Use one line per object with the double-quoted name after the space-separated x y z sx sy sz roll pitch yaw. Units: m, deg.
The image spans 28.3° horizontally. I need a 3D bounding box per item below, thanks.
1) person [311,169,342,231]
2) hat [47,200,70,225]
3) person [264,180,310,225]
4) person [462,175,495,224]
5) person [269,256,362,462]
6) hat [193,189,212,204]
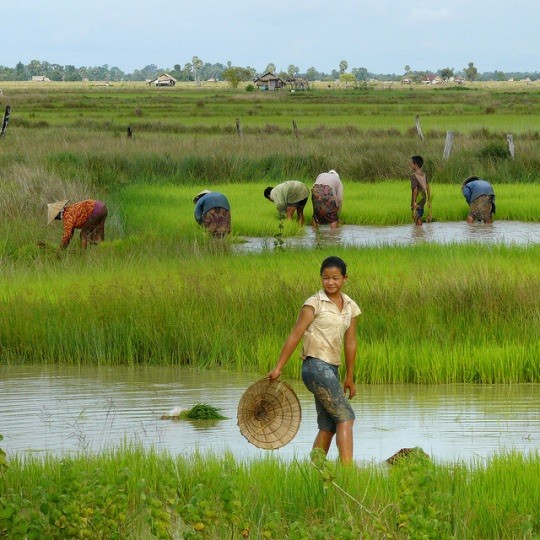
1.139 -1.390 21.465 0.579 1.148 1.011 -2 10 2 "person"
-3.453 -0.932 17.229 0.347 0.342 0.743 -6 11 -21 "hat"
0.336 -1.320 21.791 0.868 1.127 0.657 9 18 37 "person"
4.426 -1.446 22.911 0.409 0.587 1.454 11 13 -31 "person"
0.419 0.708 8.717 0.626 1.590 0.644 -1 9 5 "person"
-1.191 -1.241 18.616 0.237 0.162 0.387 -8 21 15 "hat"
